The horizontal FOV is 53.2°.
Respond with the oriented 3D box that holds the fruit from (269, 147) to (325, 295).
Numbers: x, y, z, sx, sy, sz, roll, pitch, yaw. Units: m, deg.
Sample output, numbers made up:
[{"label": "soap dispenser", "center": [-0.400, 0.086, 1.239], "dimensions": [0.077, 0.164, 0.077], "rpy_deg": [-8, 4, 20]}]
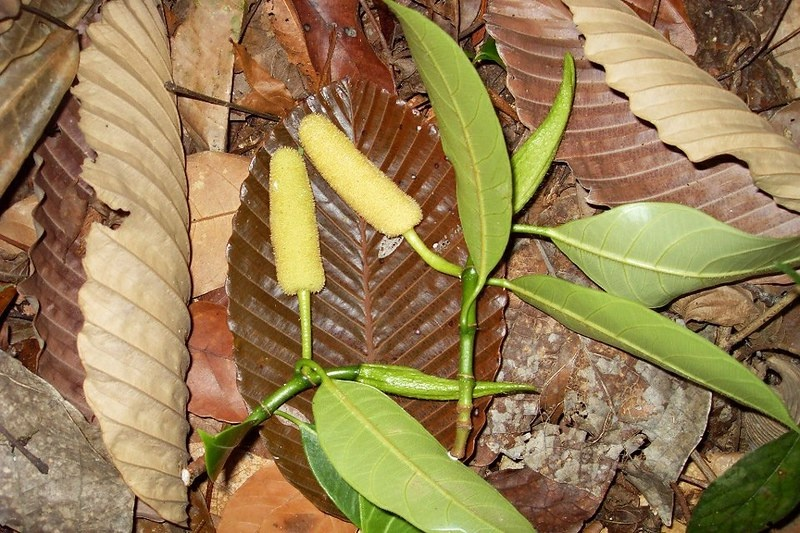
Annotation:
[{"label": "fruit", "center": [-0.243, -0.111, 1.852], "dimensions": [0.100, 0.348, 0.103], "rpy_deg": [-10, 0, -33]}]
